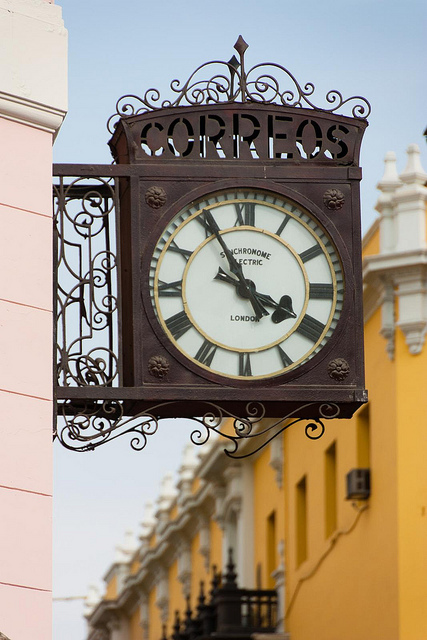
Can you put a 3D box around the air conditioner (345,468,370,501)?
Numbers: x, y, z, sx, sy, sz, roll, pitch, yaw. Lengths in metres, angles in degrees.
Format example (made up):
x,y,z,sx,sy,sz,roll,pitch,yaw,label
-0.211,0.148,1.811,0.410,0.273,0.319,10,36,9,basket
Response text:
x,y,z,sx,sy,sz,roll,pitch,yaw,label
1.726,2.087,30.638,0.283,0.419,0.535,1,-7,-4,air conditioner

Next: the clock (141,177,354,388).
x,y,z,sx,sy,sz,roll,pitch,yaw,label
0.209,-0.213,17.779,1.469,1.663,0.088,0,-29,-3,clock
